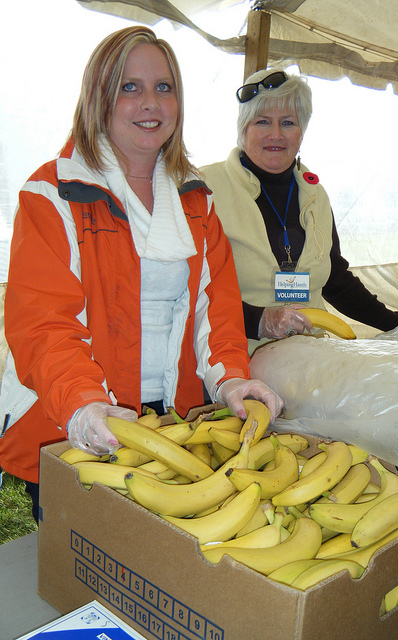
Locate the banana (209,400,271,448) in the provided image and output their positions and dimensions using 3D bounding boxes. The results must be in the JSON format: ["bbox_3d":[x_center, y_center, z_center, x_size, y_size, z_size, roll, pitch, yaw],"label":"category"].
[{"bbox_3d":[0.101,0.239,1.226,0.112,0.044,0.144,1,36,34],"label":"banana"}]

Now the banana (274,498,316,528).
[{"bbox_3d":[0.172,0.348,0.894,0.085,0.030,0.020,-42,-23,13],"label":"banana"}]

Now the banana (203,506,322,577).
[{"bbox_3d":[0.115,0.354,0.769,0.236,0.052,0.070,-7,14,-39],"label":"banana"}]

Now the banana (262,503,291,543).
[{"bbox_3d":[0.133,0.348,0.851,0.020,0.077,0.022,-26,-3,13],"label":"banana"}]

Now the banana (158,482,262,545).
[{"bbox_3d":[0.023,0.338,0.827,0.223,0.071,0.047,0,10,-40],"label":"banana"}]

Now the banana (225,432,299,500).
[{"bbox_3d":[0.130,0.299,1.003,0.136,0.090,0.037,-13,-23,-48],"label":"banana"}]

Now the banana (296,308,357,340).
[{"bbox_3d":[0.433,0.020,1.698,0.200,0.094,0.169,4,11,15],"label":"banana"}]

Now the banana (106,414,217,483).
[{"bbox_3d":[-0.080,0.264,1.010,0.208,0.042,0.070,29,-13,1],"label":"banana"}]

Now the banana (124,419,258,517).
[{"bbox_3d":[-0.014,0.290,0.919,0.240,0.143,0.063,3,-8,-30],"label":"banana"}]

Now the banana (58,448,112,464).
[{"bbox_3d":[-0.224,0.267,0.974,0.134,0.027,0.046,2,9,-6],"label":"banana"}]

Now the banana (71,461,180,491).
[{"bbox_3d":[-0.137,0.279,0.889,0.192,0.041,0.062,10,4,-2],"label":"banana"}]

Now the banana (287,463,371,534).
[{"bbox_3d":[0.239,0.353,1.013,0.218,0.070,0.053,-6,29,-33],"label":"banana"}]

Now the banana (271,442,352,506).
[{"bbox_3d":[0.248,0.314,1.020,0.219,0.047,0.111,-30,18,-39],"label":"banana"}]

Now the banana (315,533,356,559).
[{"bbox_3d":[0.255,0.395,0.910,0.029,0.034,0.107,-2,4,39],"label":"banana"}]

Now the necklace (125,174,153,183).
[{"bbox_3d":[-0.180,-0.454,1.584,0.009,0.021,0.092,10,13,37],"label":"necklace"}]

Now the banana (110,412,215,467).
[{"bbox_3d":[-0.077,0.259,1.092,0.220,0.070,0.047,0,-15,-30],"label":"banana"}]
